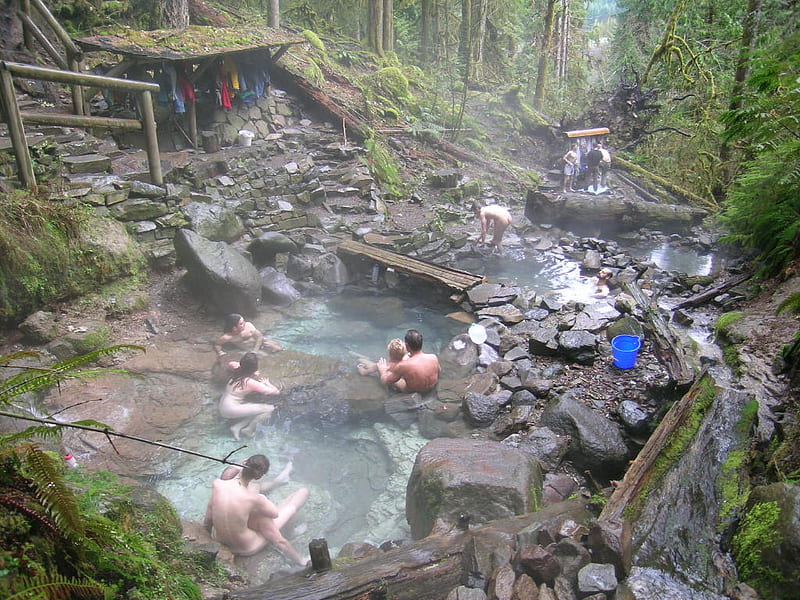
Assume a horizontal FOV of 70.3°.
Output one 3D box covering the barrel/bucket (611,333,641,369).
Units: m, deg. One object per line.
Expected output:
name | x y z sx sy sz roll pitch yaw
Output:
barrel/bucket | 3.423 0.730 8.589 0.425 0.468 0.506 7 25 21

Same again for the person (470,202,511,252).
person | 2.153 -1.708 13.561 1.041 0.997 0.704 22 59 21

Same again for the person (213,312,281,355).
person | -2.475 0.583 9.156 0.916 0.539 0.553 22 55 6

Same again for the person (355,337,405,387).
person | -0.302 0.879 8.792 0.889 0.481 0.558 12 28 32

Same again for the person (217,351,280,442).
person | -2.201 1.434 8.206 0.721 1.005 0.657 -23 48 -36

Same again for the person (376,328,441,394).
person | 0.109 0.856 8.745 0.903 0.779 0.951 -11 31 -22
